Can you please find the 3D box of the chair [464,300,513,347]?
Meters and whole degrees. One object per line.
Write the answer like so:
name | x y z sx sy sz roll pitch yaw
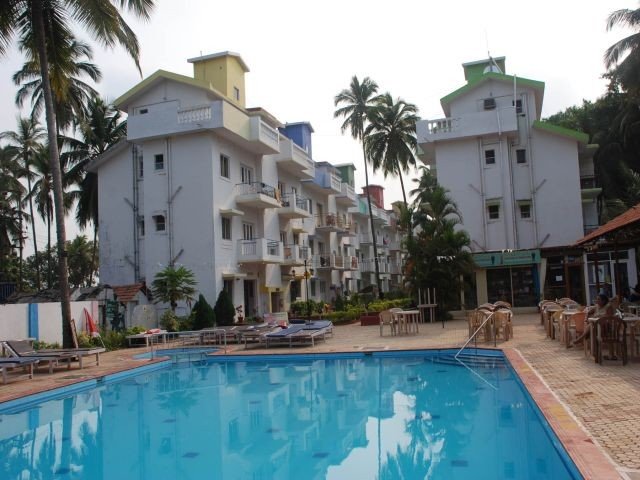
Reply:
chair | 6.604 3.293 21.094 1.204 0.940 2.370 -3 -6 10

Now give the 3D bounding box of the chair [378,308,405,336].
chair | 3.378 3.898 26.124 0.997 1.037 3.287 -4 1 6
